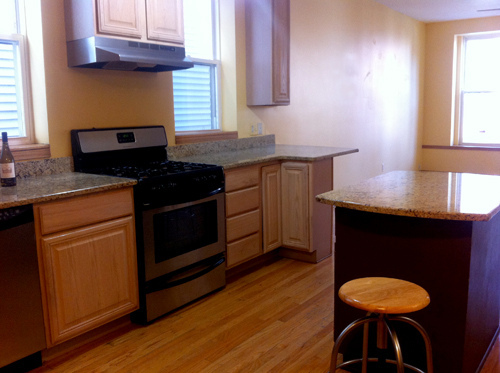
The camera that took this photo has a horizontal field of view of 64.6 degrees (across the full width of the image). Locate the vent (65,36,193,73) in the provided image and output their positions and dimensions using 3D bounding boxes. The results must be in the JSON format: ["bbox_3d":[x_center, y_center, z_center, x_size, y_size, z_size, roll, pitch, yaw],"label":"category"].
[{"bbox_3d":[-0.862,-0.968,2.915,0.487,0.216,0.781,12,19,42],"label":"vent"}]

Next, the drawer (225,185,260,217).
[{"bbox_3d":[-0.053,0.116,3.295,0.201,0.188,0.407,5,12,39],"label":"drawer"}]

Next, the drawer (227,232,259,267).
[{"bbox_3d":[-0.050,0.535,3.340,0.190,0.169,0.382,5,12,36],"label":"drawer"}]

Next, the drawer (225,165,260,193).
[{"bbox_3d":[-0.057,-0.065,3.285,0.035,0.168,0.429,10,18,39],"label":"drawer"}]

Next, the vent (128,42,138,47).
[{"bbox_3d":[-0.815,-0.994,2.766,0.068,0.036,0.012,-14,18,-40],"label":"vent"}]

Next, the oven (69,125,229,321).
[{"bbox_3d":[-0.718,0.231,3.047,0.811,1.276,0.867,9,14,34],"label":"oven"}]
